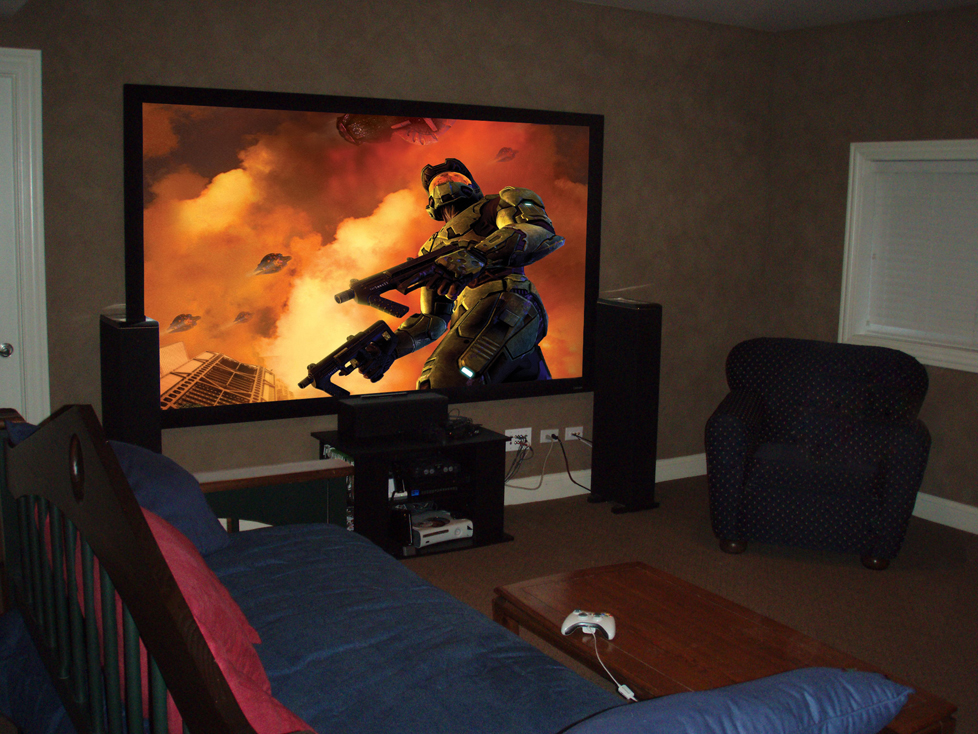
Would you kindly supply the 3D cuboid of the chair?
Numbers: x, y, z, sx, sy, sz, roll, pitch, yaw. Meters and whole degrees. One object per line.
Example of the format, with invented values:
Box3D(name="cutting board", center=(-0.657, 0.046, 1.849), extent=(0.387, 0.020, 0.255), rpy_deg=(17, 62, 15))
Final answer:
Box3D(name="chair", center=(1.717, 0.430, 4.288), extent=(1.017, 1.077, 0.915), rpy_deg=(7, 11, 33))
